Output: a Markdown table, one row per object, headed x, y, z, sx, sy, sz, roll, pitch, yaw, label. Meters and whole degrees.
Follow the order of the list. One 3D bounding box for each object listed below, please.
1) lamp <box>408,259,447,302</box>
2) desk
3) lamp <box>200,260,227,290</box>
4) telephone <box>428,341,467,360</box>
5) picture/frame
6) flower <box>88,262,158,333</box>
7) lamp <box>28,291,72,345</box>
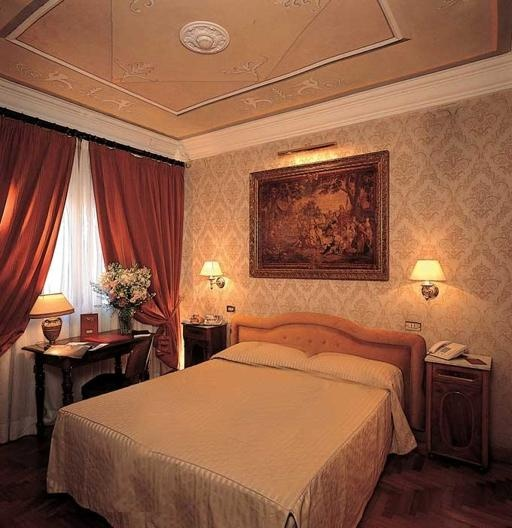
| x | y | z | sx | sy | sz | roll | pitch | yaw | label |
| --- | --- | --- | --- | --- | --- | --- | --- | --- | --- |
| 1.662 | 0.169 | 4.159 | 0.305 | 0.417 | 0.327 | 5 | 7 | 22 | lamp |
| -1.719 | 0.923 | 4.594 | 0.819 | 1.105 | 1.573 | 1 | 2 | 29 | desk |
| -0.548 | 0.149 | 5.660 | 0.332 | 0.425 | 0.372 | -1 | -1 | 35 | lamp |
| 1.732 | 0.794 | 3.938 | 0.187 | 0.055 | 0.186 | -11 | -1 | -34 | telephone |
| 0.778 | -0.541 | 4.908 | 1.666 | 1.243 | 0.075 | 0 | -1 | 38 | picture/frame |
| -1.487 | 0.295 | 5.138 | 0.746 | 0.946 | 0.855 | -1 | 2 | -44 | flower |
| -2.036 | 0.550 | 4.407 | 0.465 | 0.530 | 0.456 | -9 | 10 | -27 | lamp |
